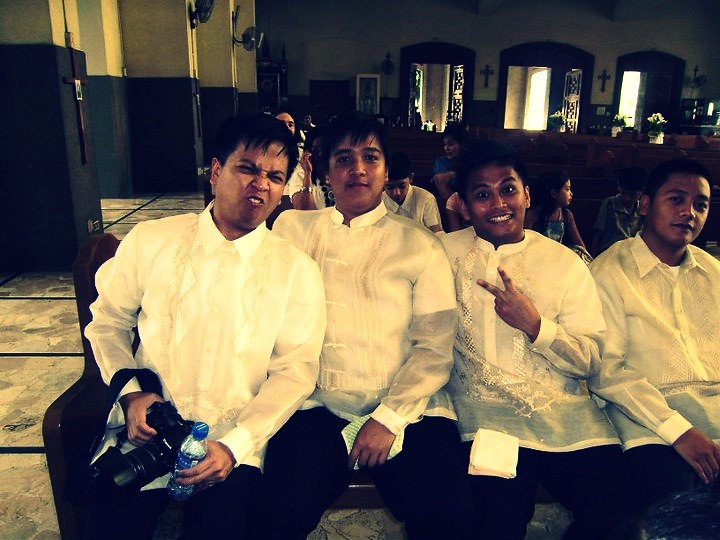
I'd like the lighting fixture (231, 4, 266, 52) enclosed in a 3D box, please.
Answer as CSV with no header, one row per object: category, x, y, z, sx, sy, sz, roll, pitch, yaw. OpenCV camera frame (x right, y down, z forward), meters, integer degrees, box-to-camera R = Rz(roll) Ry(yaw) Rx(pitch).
lighting fixture,-2.464,-5.264,12.632,0.640,1.066,1.901,-2,14,-10

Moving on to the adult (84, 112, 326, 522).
adult,-0.650,0.138,2.316,0.948,1.421,0.866,21,26,14

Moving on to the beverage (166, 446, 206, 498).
beverage,-0.616,0.721,2.069,0.135,0.230,0.071,-4,16,-18

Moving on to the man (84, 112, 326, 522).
man,-0.653,0.146,2.329,0.978,1.420,0.886,20,22,14

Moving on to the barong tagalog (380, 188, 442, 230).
barong tagalog,0.343,-0.431,4.067,0.522,0.380,0.255,1,14,7

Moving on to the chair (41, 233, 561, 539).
chair,-0.191,0.461,2.346,1.394,0.834,0.516,-2,7,-9
